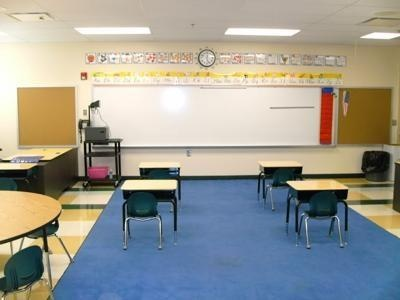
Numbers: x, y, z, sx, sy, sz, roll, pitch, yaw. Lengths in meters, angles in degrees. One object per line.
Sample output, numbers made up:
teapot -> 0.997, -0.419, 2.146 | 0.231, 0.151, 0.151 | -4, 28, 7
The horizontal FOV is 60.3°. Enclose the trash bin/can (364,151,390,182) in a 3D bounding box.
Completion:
trash bin/can -> 4.545, 0.421, 8.980 | 0.633, 0.790, 0.695 | 1, -2, -5

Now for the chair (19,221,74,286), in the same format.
chair -> -2.134, 1.220, 4.854 | 0.533, 0.765, 0.517 | -19, 12, -15

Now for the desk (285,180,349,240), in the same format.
desk -> 2.002, 1.008, 5.792 | 0.842, 0.688, 0.665 | -1, -3, 9

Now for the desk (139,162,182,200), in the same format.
desk -> -0.785, 0.394, 6.846 | 0.923, 0.737, 0.746 | 1, 12, -2

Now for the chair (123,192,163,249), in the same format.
chair -> -0.890, 1.086, 5.372 | 0.596, 0.894, 0.612 | -1, -11, -10

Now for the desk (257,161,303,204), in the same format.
desk -> 1.740, 0.641, 7.279 | 0.905, 0.744, 0.739 | -1, 9, 5

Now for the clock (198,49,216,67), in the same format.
clock -> 0.160, -2.300, 8.538 | 0.303, 0.299, 0.041 | -26, 14, -2

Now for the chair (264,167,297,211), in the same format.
chair -> 1.609, 0.707, 6.855 | 0.619, 0.844, 0.653 | 4, 9, 22
